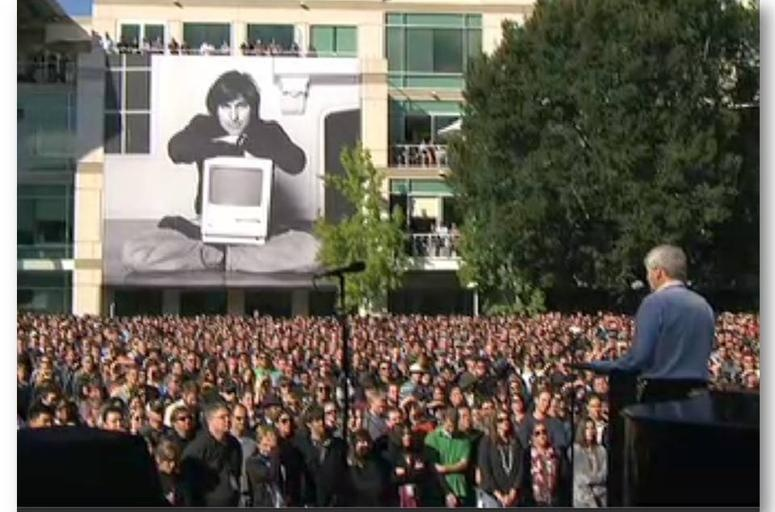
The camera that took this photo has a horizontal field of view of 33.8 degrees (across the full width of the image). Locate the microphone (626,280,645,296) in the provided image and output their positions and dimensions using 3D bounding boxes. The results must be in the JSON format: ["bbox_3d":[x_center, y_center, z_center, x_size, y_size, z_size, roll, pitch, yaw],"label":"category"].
[{"bbox_3d":[2.999,0.383,15.300,0.159,0.182,0.159,1,3,6],"label":"microphone"}]
